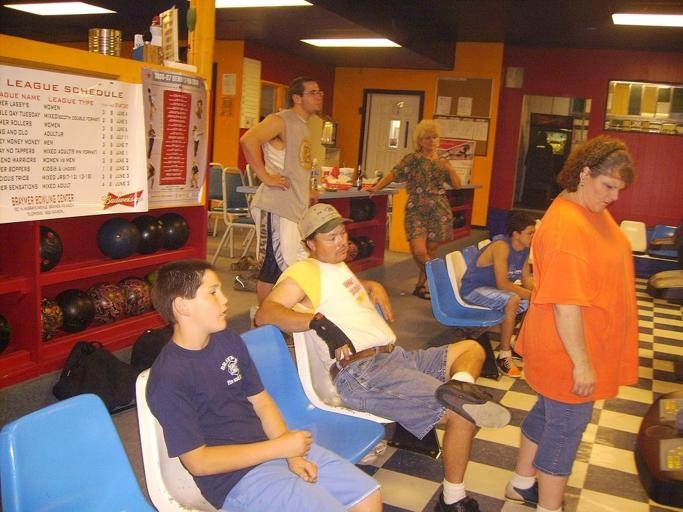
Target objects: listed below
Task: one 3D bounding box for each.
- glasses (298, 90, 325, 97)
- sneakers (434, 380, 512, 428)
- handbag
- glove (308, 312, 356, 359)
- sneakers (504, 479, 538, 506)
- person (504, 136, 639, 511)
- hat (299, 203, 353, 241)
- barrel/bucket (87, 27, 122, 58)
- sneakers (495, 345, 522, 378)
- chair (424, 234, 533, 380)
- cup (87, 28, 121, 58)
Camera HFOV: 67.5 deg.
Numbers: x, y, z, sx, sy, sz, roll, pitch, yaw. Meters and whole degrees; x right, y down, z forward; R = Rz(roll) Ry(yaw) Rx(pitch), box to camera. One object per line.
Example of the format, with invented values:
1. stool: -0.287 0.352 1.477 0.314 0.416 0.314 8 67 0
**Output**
1. glasses: -0.206 -1.238 3.891 0.193 0.041 0.074 -9 16 -44
2. sneakers: 0.519 0.594 2.137 0.359 0.136 0.187 19 -2 1
3. handbag: -1.505 0.767 3.181 0.314 0.515 0.376 -14 5 -2
4. glove: -0.061 0.357 2.281 0.140 0.218 0.073 -47 6 -34
5. sneakers: 0.915 1.216 2.641 0.191 0.075 0.080 8 -3 10
6. person: 1.081 0.407 2.312 0.523 1.869 0.443 1 12 -5
7. hat: -0.093 -0.202 2.564 0.211 0.141 0.290 -24 10 -32
8. barrel/bucket: -1.625 -1.464 3.547 0.286 0.196 0.252 -4 16 -29
9. sneakers: 1.367 0.863 4.224 0.132 0.188 0.319 -4 5 -30
10. chair: 1.052 0.390 3.828 0.467 0.725 1.194 -6 2 29
11. cup: -1.646 -1.478 3.546 0.285 0.195 0.250 -3 14 -29
